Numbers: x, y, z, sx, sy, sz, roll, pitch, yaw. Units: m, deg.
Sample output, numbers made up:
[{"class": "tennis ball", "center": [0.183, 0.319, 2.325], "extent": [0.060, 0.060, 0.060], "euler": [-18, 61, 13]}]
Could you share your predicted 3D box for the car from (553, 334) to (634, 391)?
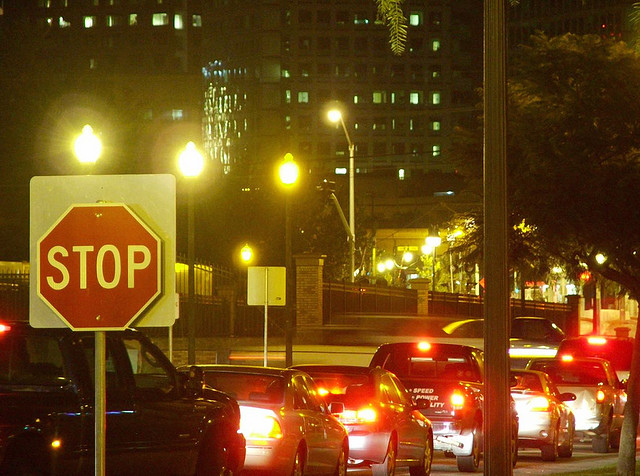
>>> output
[{"class": "car", "center": [7.860, 3.186, 26.446], "extent": [1.488, 1.580, 3.242], "euler": [0, -1, 23]}]

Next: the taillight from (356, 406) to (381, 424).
[{"class": "taillight", "center": [0.719, 2.685, 14.260], "extent": [0.372, 0.243, 0.064], "euler": [-6, -12, 26]}]

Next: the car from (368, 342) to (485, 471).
[{"class": "car", "center": [2.202, 2.859, 16.818], "extent": [1.577, 1.550, 3.079], "euler": [0, -1, 18]}]

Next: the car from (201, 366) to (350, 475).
[{"class": "car", "center": [-0.398, 2.537, 12.999], "extent": [1.053, 0.850, 2.391], "euler": [-1, -5, 14]}]

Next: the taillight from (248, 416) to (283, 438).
[{"class": "taillight", "center": [-0.701, 2.450, 12.191], "extent": [0.420, 0.271, 0.067], "euler": [-1, -11, 7]}]

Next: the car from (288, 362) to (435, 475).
[{"class": "car", "center": [1.097, 2.927, 15.394], "extent": [1.197, 1.094, 2.846], "euler": [-1, -6, 19]}]

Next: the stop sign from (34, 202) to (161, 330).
[{"class": "stop sign", "center": [-1.521, 0.216, 6.451], "extent": [0.728, 0.840, 0.104], "euler": [-1, -1, 6]}]

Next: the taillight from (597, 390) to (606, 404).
[{"class": "taillight", "center": [5.904, 3.323, 19.692], "extent": [0.181, 0.281, 0.148], "euler": [-2, -11, 10]}]

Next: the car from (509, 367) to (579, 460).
[{"class": "car", "center": [4.332, 3.435, 18.300], "extent": [0.785, 1.708, 1.762], "euler": [-10, -16, 43]}]

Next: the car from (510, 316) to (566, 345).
[{"class": "car", "center": [8.091, 3.516, 35.049], "extent": [1.463, 0.916, 1.068], "euler": [-2, -3, 11]}]

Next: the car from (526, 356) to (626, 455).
[{"class": "car", "center": [5.554, 3.295, 21.021], "extent": [1.695, 1.683, 3.614], "euler": [2, 7, 12]}]
